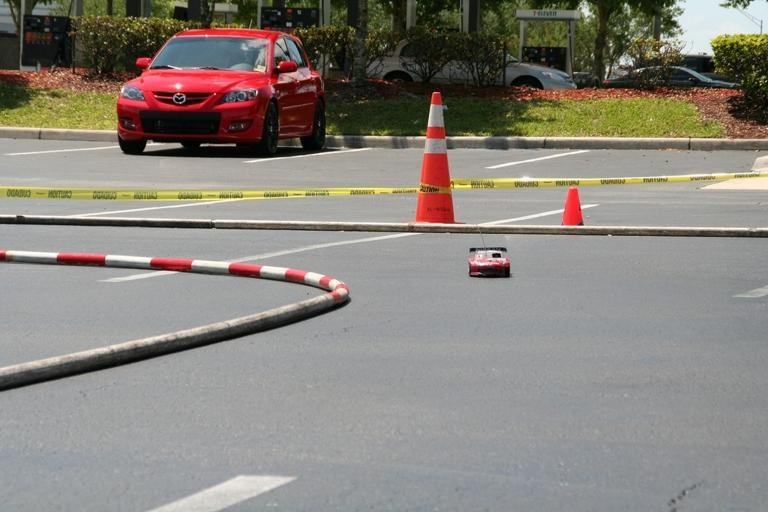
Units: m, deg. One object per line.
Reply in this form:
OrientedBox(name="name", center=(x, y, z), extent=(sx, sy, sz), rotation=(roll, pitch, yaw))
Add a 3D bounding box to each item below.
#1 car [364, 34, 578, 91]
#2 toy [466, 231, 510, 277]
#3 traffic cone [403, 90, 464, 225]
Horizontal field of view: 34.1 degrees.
OrientedBox(name="car", center=(2.172, -5.096, 30.412), extent=(4.577, 1.624, 2.029), rotation=(1, 5, 5))
OrientedBox(name="toy", center=(0.963, 0.048, 11.467), extent=(0.393, 0.238, 0.727), rotation=(1, 2, 3))
OrientedBox(name="traffic cone", center=(0.544, -1.047, 13.223), extent=(0.487, 1.307, 0.515), rotation=(2, 7, 9))
